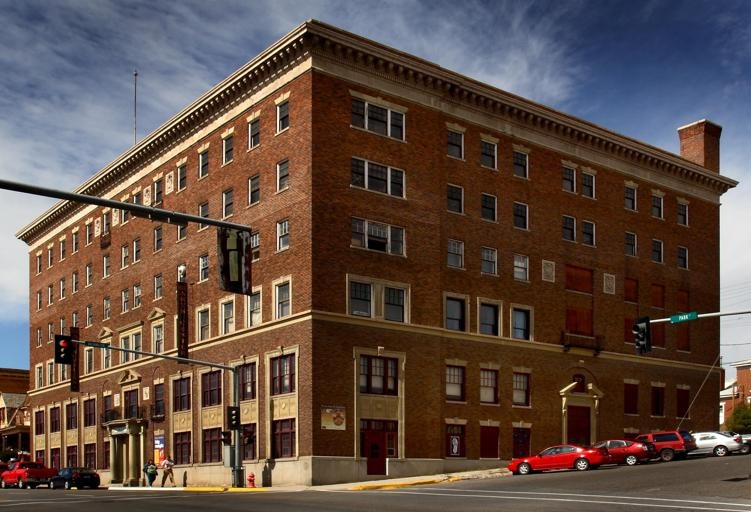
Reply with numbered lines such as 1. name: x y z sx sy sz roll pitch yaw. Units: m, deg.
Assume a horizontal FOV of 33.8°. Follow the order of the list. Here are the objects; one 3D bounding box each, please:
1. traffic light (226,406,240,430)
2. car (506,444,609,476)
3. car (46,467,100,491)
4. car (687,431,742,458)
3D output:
1. traffic light: -10.568 12.163 92.641 0.938 1.742 0.781 4 -21 -15
2. car: 13.919 15.662 94.183 6.669 1.735 2.708 -5 -13 20
3. car: -25.103 18.677 103.379 3.823 1.931 2.042 -2 -20 1
4. car: 27.589 15.224 99.703 4.147 1.177 1.825 0 -8 21
